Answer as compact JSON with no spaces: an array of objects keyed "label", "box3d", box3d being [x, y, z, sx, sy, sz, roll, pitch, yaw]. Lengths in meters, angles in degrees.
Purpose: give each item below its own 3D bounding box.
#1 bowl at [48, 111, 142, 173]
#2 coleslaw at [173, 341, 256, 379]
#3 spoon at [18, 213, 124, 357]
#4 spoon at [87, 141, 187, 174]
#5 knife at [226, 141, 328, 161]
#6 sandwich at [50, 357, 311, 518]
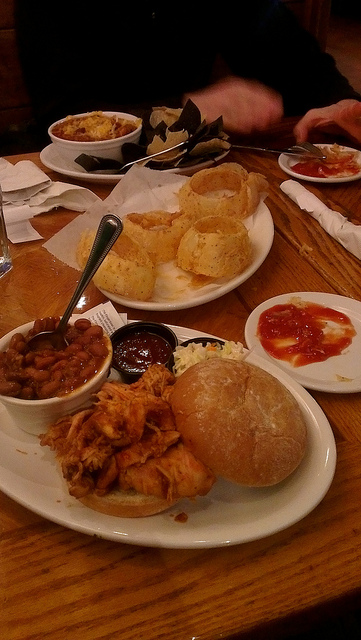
[{"label":"bowl","box3d":[-0.357,-0.788,2.214,0.359,0.171,0.370,-3,39,2]},{"label":"coleslaw","box3d":[0.059,0.058,1.116,0.160,0.073,0.204,8,14,35]},{"label":"spoon","box3d":[-0.233,-0.078,1.149,0.132,0.043,0.457,22,65,-4]},{"label":"spoon","box3d":[-0.186,-0.691,2.107,0.397,0.061,0.070,-19,39,14]},{"label":"knife","box3d":[0.442,-0.783,2.299,0.476,0.059,0.071,15,9,16]},{"label":"sandwich","box3d":[0.011,0.203,0.882,0.343,0.111,0.271,-6,32,-4]}]
